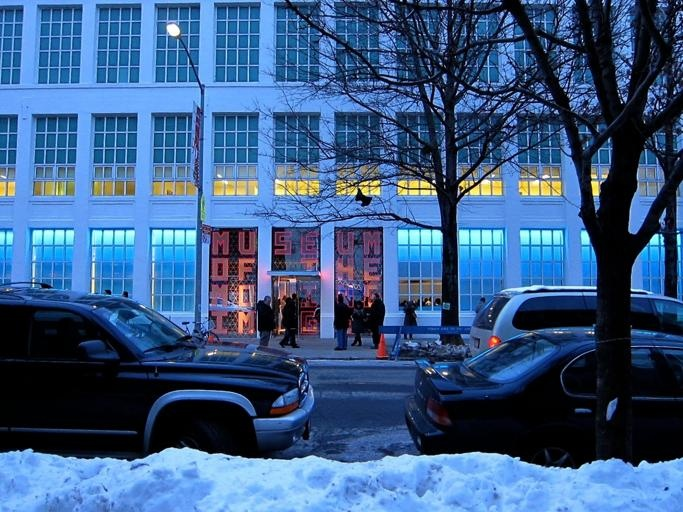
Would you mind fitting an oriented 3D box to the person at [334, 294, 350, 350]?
[{"bbox_3d":[-0.008,2.051,24.999,0.445,1.705,1.247,-2,-2,-1],"label":"person"}]

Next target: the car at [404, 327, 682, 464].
[{"bbox_3d":[2.934,2.037,11.602,3.724,1.248,1.761,-3,0,-1],"label":"car"}]

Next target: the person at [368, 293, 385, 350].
[{"bbox_3d":[1.078,2.081,25.750,0.585,1.816,0.673,-1,1,43],"label":"person"}]

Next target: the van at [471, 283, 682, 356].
[{"bbox_3d":[4.685,1.107,16.184,3.237,1.148,1.791,-2,1,-1],"label":"van"}]
